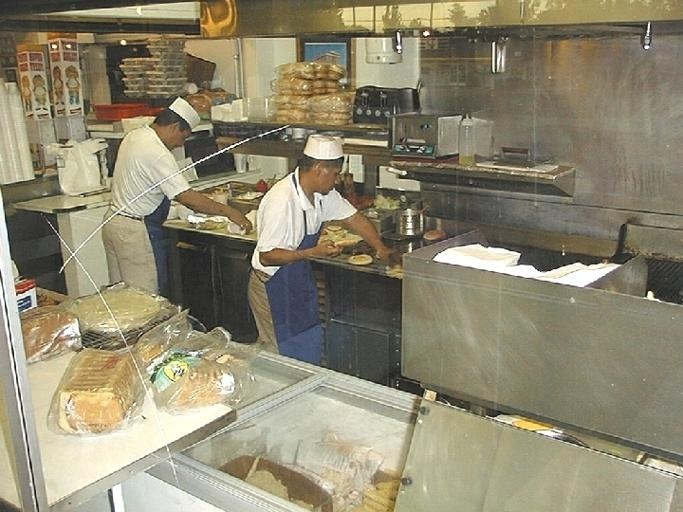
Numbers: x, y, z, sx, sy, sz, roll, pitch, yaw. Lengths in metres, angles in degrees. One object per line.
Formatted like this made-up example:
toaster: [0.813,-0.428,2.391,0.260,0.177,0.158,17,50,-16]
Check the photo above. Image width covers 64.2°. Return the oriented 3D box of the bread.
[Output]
bread: [-0.487,0.261,1.226,0.334,0.101,0.301,3,28,3]

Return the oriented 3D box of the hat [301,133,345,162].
hat: [-0.040,-0.236,1.192,0.069,0.031,0.064,-11,29,-25]

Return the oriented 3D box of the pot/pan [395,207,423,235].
pot/pan: [0.148,-0.076,1.183,0.065,0.041,0.060,5,12,16]

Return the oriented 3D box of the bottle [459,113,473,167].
bottle: [0.256,-0.238,1.117,0.034,0.105,0.013,1,20,13]

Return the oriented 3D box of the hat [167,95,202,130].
hat: [-0.351,-0.324,1.233,0.055,0.074,0.062,-46,31,-2]
